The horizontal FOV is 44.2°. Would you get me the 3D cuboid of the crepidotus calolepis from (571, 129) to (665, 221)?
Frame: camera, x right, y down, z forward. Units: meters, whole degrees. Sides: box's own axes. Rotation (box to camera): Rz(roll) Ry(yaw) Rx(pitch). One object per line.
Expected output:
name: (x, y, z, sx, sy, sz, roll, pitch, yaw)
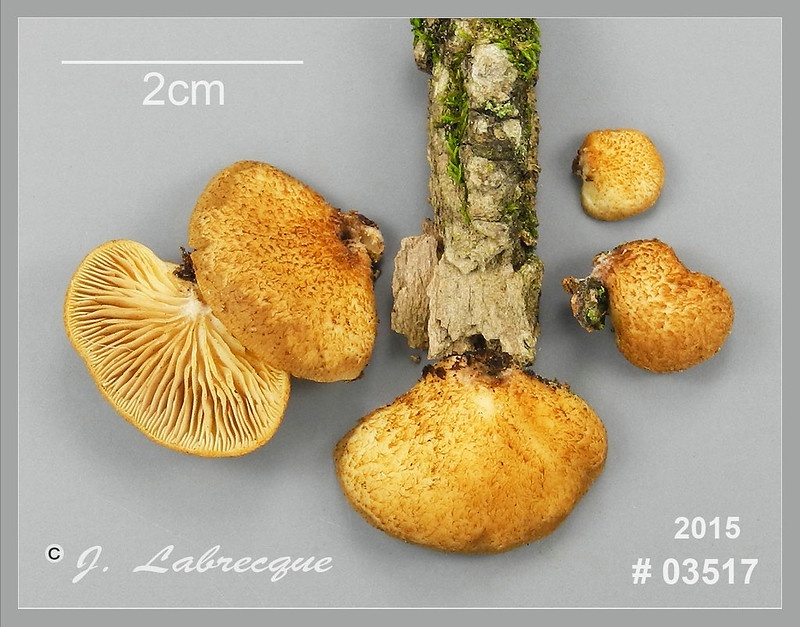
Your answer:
crepidotus calolepis: (0.977, -0.620, 4.454, 0.399, 0.294, 0.302, 6, 55, 8)
